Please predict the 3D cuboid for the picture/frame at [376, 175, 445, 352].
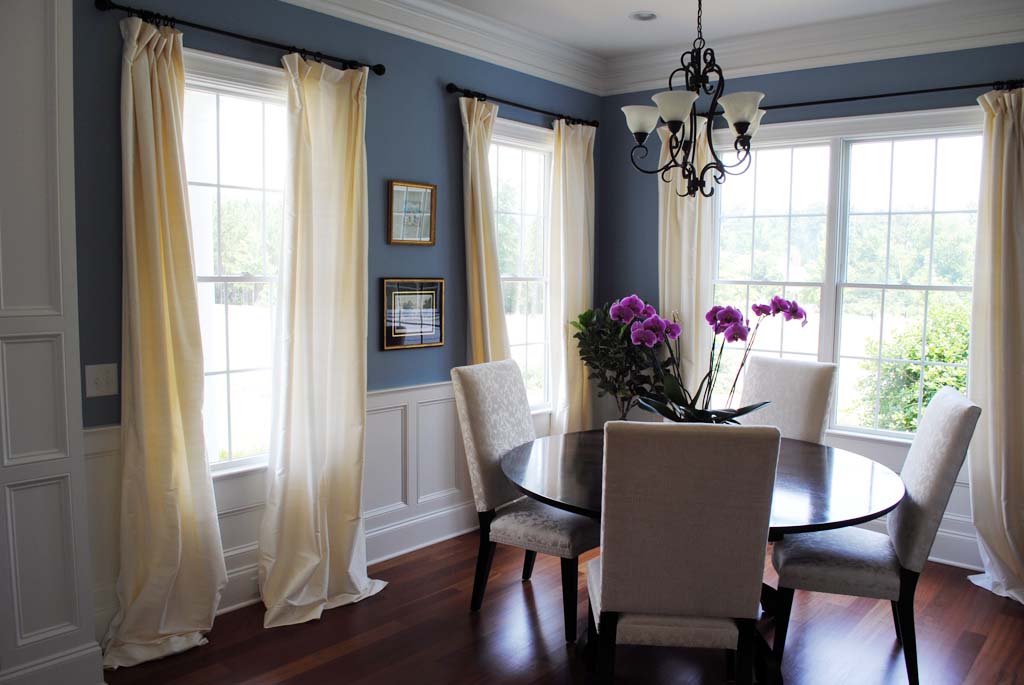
[{"bbox_3d":[-0.701,-0.502,4.771,0.528,1.121,0.147,-10,17,-38],"label":"picture/frame"}]
